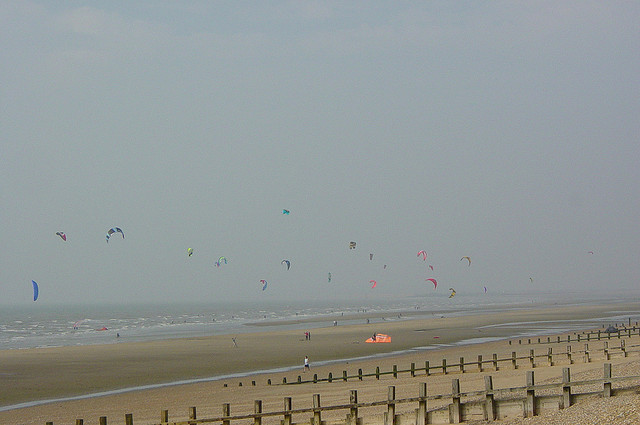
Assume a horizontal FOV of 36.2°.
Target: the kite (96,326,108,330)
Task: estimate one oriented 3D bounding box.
[{"bbox_3d":[-29.901,16.137,135.548,1.384,0.476,0.542,-2,-83,-21],"label":"kite"}]
